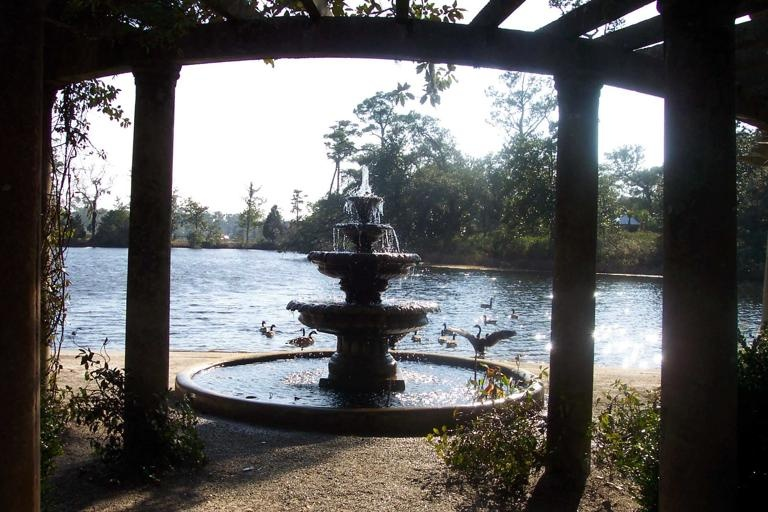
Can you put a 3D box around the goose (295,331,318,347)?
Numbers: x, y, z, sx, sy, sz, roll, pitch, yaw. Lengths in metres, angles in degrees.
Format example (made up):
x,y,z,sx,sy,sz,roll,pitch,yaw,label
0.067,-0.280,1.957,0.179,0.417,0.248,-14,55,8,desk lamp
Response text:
x,y,z,sx,sy,sz,roll,pitch,yaw,label
-1.552,1.672,14.051,0.329,0.321,0.922,0,0,-9,goose
